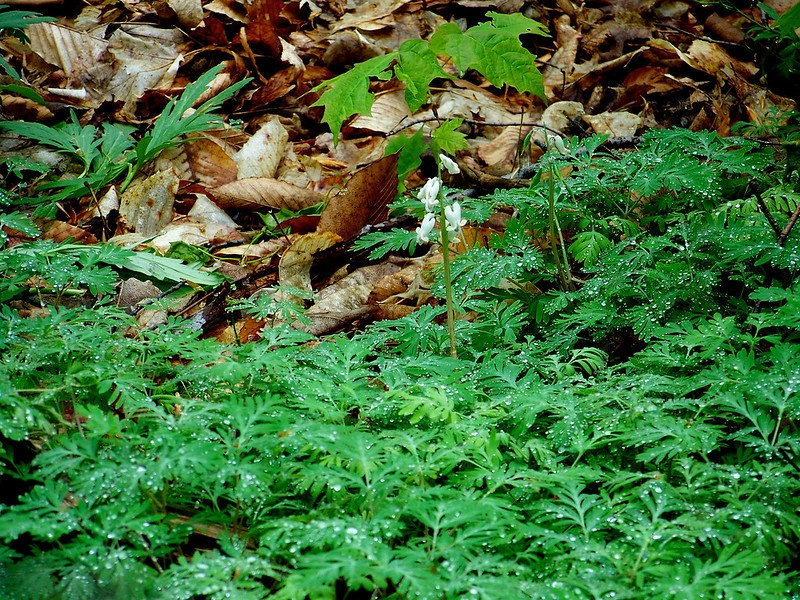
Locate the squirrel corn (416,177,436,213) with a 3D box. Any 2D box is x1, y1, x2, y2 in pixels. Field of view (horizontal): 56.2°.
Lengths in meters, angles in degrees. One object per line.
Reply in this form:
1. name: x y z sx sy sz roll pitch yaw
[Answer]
1. squirrel corn: 0.149 -0.530 3.798 0.135 0.155 0.092 10 10 -1
